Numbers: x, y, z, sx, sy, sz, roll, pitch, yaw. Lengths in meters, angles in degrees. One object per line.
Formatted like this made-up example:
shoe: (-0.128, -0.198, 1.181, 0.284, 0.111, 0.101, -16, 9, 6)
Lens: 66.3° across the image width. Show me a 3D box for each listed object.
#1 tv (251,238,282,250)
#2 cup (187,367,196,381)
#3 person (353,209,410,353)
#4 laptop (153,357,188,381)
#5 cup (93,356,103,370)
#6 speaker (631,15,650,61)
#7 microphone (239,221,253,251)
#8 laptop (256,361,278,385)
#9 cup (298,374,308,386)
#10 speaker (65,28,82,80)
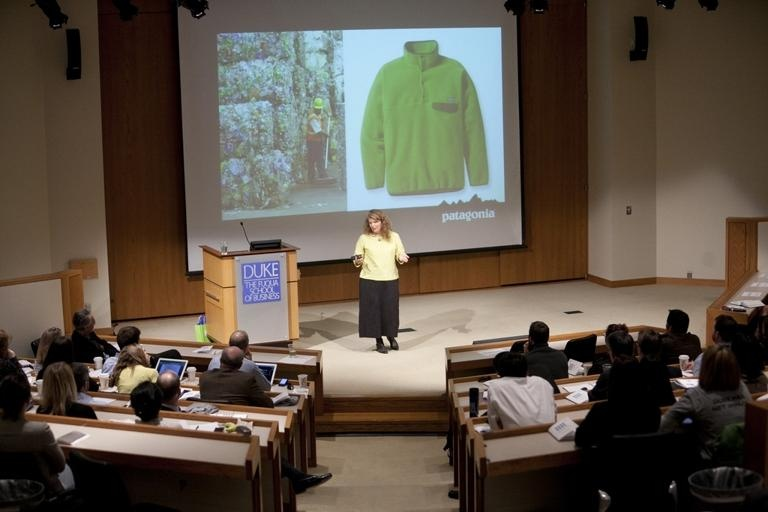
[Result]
tv: (-1.564, -0.142, 7.755, 0.404, 0.127, 0.165, -5, 5, -14)
cup: (-1.926, 1.174, 5.878, 0.106, 0.122, 0.126, 1, -4, -24)
person: (-0.047, 0.342, 7.929, 0.652, 1.915, 0.192, -3, 5, -2)
laptop: (-2.096, 1.074, 5.798, 0.357, 0.243, 0.339, 1, 0, 4)
cup: (-2.949, 1.100, 6.094, 0.118, 0.131, 0.118, -1, -10, 0)
speaker: (4.551, -3.894, 10.519, 0.292, 0.768, 0.208, -5, 5, -23)
microphone: (-2.329, -0.384, 9.770, 0.130, 0.407, 0.258, -2, 5, 19)
laptop: (-1.167, 1.137, 5.870, 0.233, 0.251, 0.203, 0, -6, -4)
cup: (-0.801, 1.203, 5.769, 0.103, 0.132, 0.124, -1, -5, 1)
speaker: (-4.632, -2.999, 8.743, 0.249, 0.743, 0.139, -6, 5, -30)
